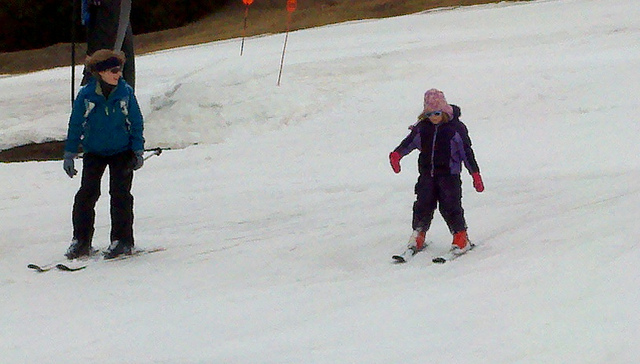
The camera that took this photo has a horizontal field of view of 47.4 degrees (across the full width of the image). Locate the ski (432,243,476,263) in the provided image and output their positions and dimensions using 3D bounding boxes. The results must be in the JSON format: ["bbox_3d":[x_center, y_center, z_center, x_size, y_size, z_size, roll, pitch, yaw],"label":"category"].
[{"bbox_3d":[2.798,1.464,15.014,0.990,0.286,0.174,-25,-18,-7],"label":"ski"}]

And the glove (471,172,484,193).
[{"bbox_3d":[3.163,0.019,14.704,0.225,0.371,0.089,-13,-3,-3],"label":"glove"}]

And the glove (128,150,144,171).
[{"bbox_3d":[-3.776,-0.451,14.850,0.356,0.398,0.174,-14,16,-12],"label":"glove"}]

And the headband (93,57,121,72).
[{"bbox_3d":[-4.209,-2.273,14.382,0.356,0.142,0.301,-10,15,35],"label":"headband"}]

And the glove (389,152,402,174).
[{"bbox_3d":[1.557,-0.394,15.101,0.200,0.443,0.192,-3,-3,-5],"label":"glove"}]

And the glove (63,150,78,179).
[{"bbox_3d":[-5.105,-0.372,14.825,0.286,0.571,0.472,-13,15,-8],"label":"glove"}]

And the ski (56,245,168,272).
[{"bbox_3d":[-4.314,1.585,14.927,1.497,0.173,0.213,-14,19,-33],"label":"ski"}]
